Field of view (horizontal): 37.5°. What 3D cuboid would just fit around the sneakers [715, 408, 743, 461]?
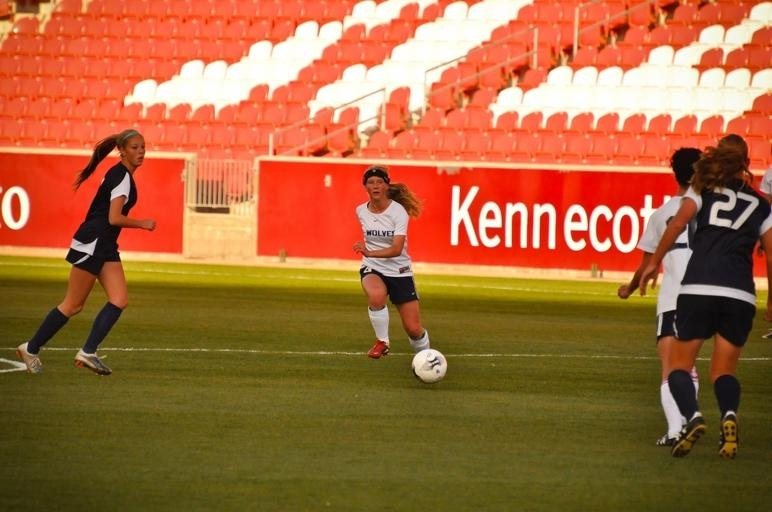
[{"bbox_3d":[3.445,1.755,11.400,0.182,0.463,0.232,0,11,7],"label":"sneakers"}]

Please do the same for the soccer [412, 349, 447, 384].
[{"bbox_3d":[0.525,1.327,13.776,0.402,0.398,0.219,-1,6,-1],"label":"soccer"}]

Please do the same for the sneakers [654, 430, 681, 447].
[{"bbox_3d":[2.917,1.889,11.750,0.092,0.113,0.254,-26,3,-26],"label":"sneakers"}]

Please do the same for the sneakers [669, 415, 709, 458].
[{"bbox_3d":[3.019,1.771,11.403,0.198,0.560,0.257,20,34,-17],"label":"sneakers"}]

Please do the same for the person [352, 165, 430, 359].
[{"bbox_3d":[0.051,0.104,14.631,0.902,2.510,1.173,-1,6,-2],"label":"person"}]
